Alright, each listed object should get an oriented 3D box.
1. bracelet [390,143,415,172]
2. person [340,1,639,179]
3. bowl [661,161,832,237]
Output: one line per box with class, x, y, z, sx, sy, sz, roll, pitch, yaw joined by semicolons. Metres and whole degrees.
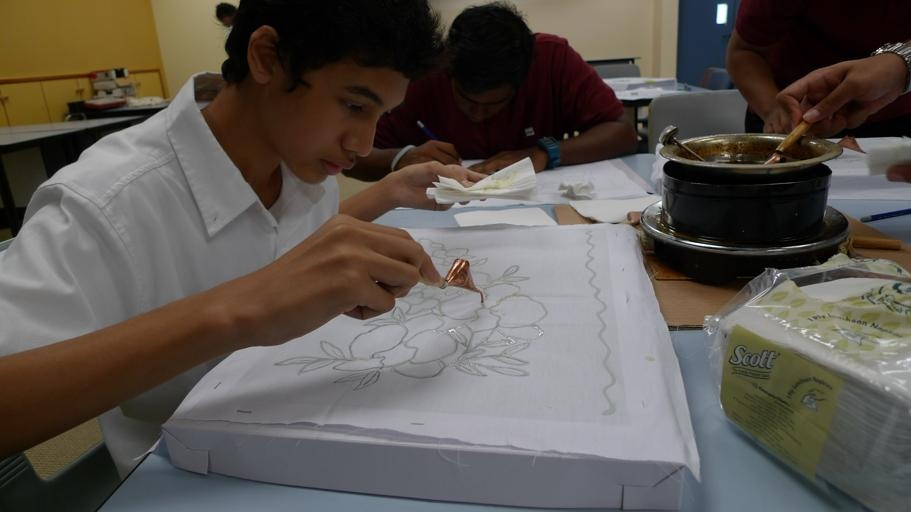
bracelet;-0.207;-0.366;2.127;0.029;0.108;0.096;30;32;10
person;0.188;-0.625;2.294;1.265;0.634;0.740;-4;37;3
bowl;0.703;-0.161;1.443;0.405;0.166;0.413;-3;17;1
